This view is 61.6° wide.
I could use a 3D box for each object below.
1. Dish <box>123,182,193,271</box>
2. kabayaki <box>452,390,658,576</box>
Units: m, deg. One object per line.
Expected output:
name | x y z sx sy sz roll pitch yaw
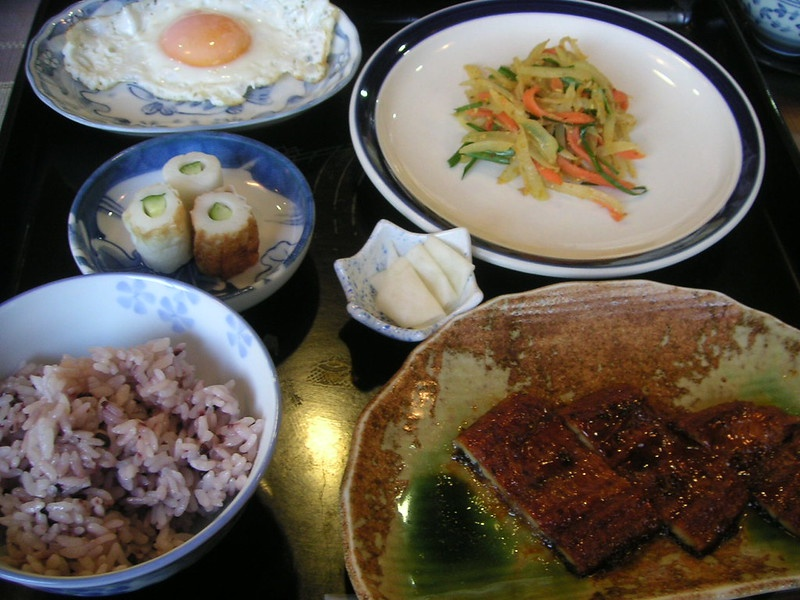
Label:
Dish | -0.988 -0.293 2.774 0.245 0.251 0.307 -23 71 -9
kabayaki | 0.539 0.631 2.325 0.355 0.090 0.667 -40 75 -15
